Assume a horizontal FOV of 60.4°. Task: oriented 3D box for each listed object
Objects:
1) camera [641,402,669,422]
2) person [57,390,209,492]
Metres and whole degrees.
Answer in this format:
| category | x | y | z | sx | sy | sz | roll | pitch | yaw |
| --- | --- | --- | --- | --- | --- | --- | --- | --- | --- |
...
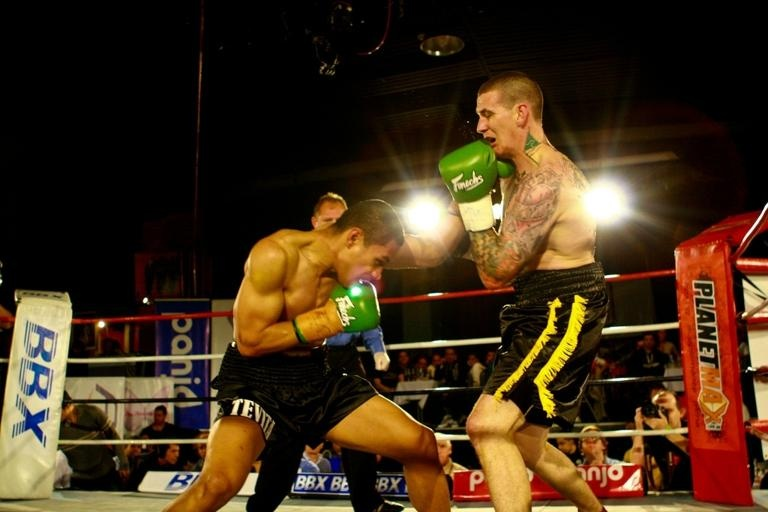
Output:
| category | x | y | z | sx | sy | sz | roll | pitch | yaw |
| --- | --- | --- | --- | --- | --- | --- | --- | --- | --- |
| camera | 2.400 | 1.387 | 5.873 | 0.241 | 0.171 | 0.118 | -6 | -19 | 20 |
| person | -2.530 | 1.840 | 6.503 | 1.166 | 0.669 | 0.364 | 12 | -27 | -37 |
